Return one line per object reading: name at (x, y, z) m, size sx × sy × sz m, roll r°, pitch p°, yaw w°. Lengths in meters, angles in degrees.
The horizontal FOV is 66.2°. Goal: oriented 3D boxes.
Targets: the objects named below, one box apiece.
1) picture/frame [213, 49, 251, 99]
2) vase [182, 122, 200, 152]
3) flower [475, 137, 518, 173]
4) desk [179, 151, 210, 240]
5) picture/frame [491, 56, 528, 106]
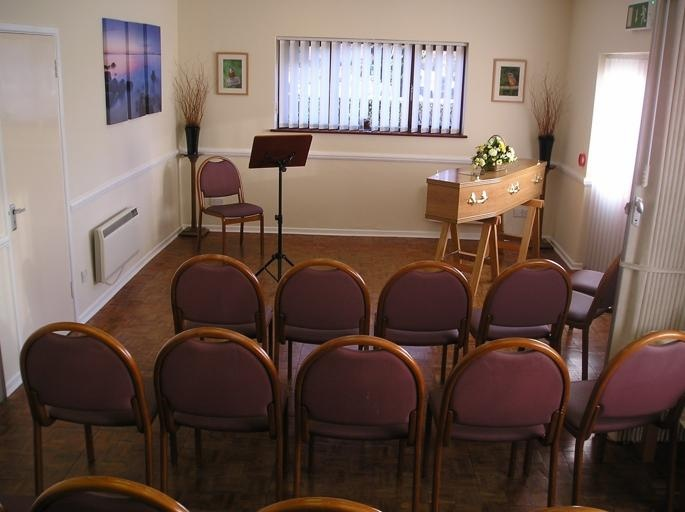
picture/frame at (-1.402, -2.341, 6.672) m, size 0.454 × 0.642 × 0.041 m, roll 1°, pitch 13°, yaw -2°
vase at (-1.896, -1.478, 6.662) m, size 0.161 × 0.372 × 0.169 m, roll -5°, pitch 18°, yaw -21°
flower at (1.540, -1.045, 5.424) m, size 0.425 × 0.336 × 0.441 m, roll 9°, pitch 19°, yaw 36°
desk at (-1.931, -0.874, 6.822) m, size 0.416 × 0.925 × 0.411 m, roll -5°, pitch 20°, yaw -30°
picture/frame at (2.105, -2.242, 6.637) m, size 0.474 × 0.665 × 0.041 m, roll 0°, pitch 10°, yaw -1°
